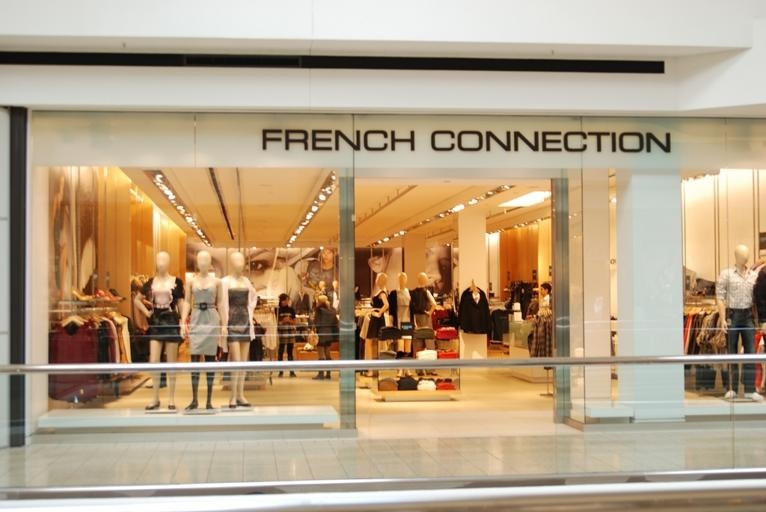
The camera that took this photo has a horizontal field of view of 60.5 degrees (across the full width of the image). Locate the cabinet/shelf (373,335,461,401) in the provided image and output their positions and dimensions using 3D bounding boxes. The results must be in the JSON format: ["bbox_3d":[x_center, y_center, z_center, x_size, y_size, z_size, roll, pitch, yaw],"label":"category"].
[{"bbox_3d":[0.331,1.664,8.803,1.183,0.672,1.139,0,-2,-18],"label":"cabinet/shelf"}]

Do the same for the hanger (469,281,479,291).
[{"bbox_3d":[1.845,0.601,13.344,0.170,0.259,0.245,3,-2,18],"label":"hanger"}]

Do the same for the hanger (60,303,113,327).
[{"bbox_3d":[-3.836,0.737,8.352,0.536,0.246,0.330,1,-4,-12],"label":"hanger"}]

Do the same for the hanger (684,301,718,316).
[{"bbox_3d":[4.336,0.721,8.918,0.564,0.208,0.116,2,-9,-20],"label":"hanger"}]

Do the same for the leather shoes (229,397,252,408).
[{"bbox_3d":[-1.270,1.306,5.840,0.190,0.064,0.067,0,-1,-44],"label":"leather shoes"}]
